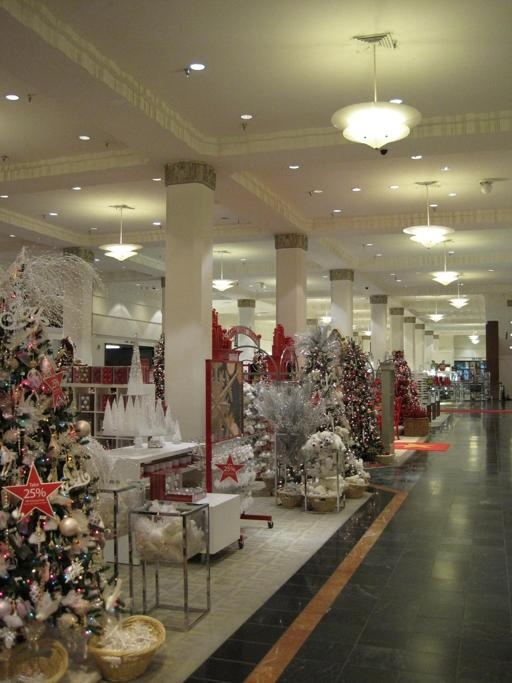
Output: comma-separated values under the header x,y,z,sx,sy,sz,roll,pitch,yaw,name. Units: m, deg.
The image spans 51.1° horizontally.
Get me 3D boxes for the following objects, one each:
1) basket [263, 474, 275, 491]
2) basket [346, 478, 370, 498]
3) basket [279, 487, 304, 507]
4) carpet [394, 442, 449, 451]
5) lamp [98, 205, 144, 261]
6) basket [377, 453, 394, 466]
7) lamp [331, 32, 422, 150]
x,y,z,sx,sy,sz,roll,pitch,yaw,name
0.170,1.865,6.984,0.130,0.296,0.332,-1,-2,-2,basket
1.280,1.870,6.790,0.324,0.186,0.317,5,-11,-43,basket
0.402,1.874,6.413,0.307,0.196,0.185,-2,-2,5,basket
3.767,2.389,12.199,1.115,0.074,1.775,-2,-2,17,carpet
-2.946,-2.336,11.755,1.043,1.402,1.027,-3,4,-44,lamp
2.372,2.135,9.753,0.212,0.141,0.213,0,0,29,basket
1.135,-2.351,5.070,0.832,1.116,0.789,0,-3,14,lamp
